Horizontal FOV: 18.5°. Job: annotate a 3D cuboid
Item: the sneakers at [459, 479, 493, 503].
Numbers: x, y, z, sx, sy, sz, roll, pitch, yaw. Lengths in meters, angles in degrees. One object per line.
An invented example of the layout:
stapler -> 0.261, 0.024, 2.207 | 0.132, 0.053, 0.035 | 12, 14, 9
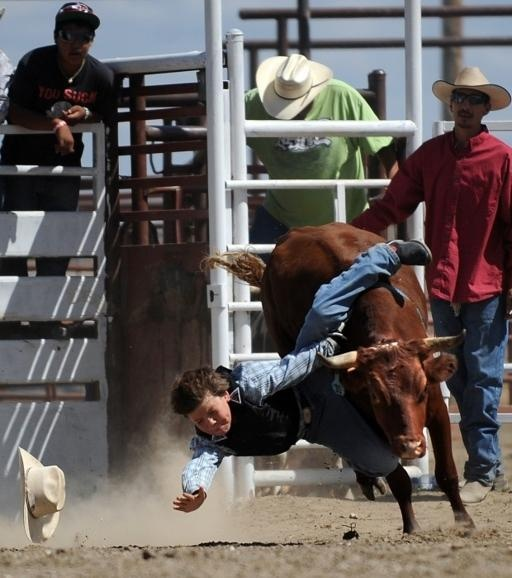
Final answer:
sneakers -> 1.168, 1.073, 8.360 | 0.097, 0.082, 0.195 | 2, -4, 39

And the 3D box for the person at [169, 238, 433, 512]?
person -> 0.209, 0.347, 7.361 | 1.240, 1.105, 0.365 | -2, 6, -17

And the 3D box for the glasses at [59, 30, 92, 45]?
glasses -> -1.019, -1.428, 8.842 | 0.192, 0.070, 0.089 | -1, 6, -10

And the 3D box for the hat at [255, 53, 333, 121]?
hat -> 0.227, -1.244, 9.610 | 0.473, 0.392, 0.449 | -5, 8, -38

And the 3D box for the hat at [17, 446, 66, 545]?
hat -> -1.120, 1.028, 7.796 | 0.149, 0.394, 0.303 | -5, -22, 17

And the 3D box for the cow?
cow -> 0.161, 0.301, 7.804 | 0.587, 1.172, 2.168 | -22, 11, -9

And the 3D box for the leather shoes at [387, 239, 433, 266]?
leather shoes -> 0.734, -0.193, 7.648 | 0.101, 0.095, 0.261 | -6, 17, -18

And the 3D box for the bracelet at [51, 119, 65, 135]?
bracelet -> -1.103, -0.901, 8.729 | 0.067, 0.026, 0.069 | 13, -42, -21

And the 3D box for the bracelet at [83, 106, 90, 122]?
bracelet -> -0.955, -0.995, 8.859 | 0.028, 0.073, 0.085 | 0, 6, 7

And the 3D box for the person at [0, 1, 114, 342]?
person -> -1.162, -0.669, 8.996 | 0.688, 1.930, 0.602 | -1, 6, -3
